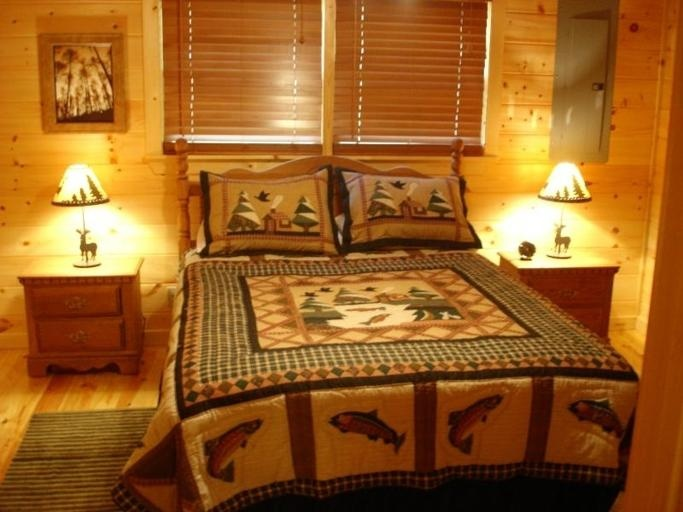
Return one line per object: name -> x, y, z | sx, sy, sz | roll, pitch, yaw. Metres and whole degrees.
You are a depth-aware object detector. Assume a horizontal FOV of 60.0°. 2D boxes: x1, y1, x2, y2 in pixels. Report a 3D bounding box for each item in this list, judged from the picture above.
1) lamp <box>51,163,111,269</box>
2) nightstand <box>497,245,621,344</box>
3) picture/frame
lamp -> -1.498, -0.242, 3.449 | 0.297, 0.578, 0.362 | -11, 17, -19
nightstand -> 1.302, 0.291, 3.853 | 0.925, 0.594, 0.556 | 0, 17, 1
picture/frame -> -1.511, -1.007, 3.467 | 0.528, 0.570, 0.075 | -5, 17, -5
